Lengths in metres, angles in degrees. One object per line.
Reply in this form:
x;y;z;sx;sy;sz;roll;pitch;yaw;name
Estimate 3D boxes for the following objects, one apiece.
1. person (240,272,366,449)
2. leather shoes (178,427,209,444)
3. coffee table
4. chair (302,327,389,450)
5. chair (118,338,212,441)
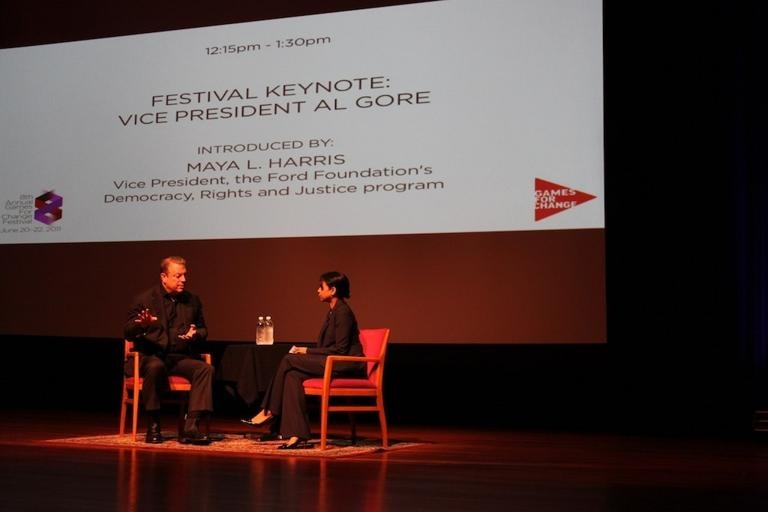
-0.570;0.829;6.529;0.826;1.402;0.608;-1;-3;-2;person
-1.542;1.431;6.447;0.254;0.138;0.130;-3;-9;18;leather shoes
-1.102;1.088;6.856;0.601;0.420;0.609;23;-22;-13;coffee table
-0.407;1.138;6.947;0.822;1.311;0.848;6;-12;-27;chair
-1.842;1.127;6.745;0.704;1.080;0.567;10;-17;-37;chair
